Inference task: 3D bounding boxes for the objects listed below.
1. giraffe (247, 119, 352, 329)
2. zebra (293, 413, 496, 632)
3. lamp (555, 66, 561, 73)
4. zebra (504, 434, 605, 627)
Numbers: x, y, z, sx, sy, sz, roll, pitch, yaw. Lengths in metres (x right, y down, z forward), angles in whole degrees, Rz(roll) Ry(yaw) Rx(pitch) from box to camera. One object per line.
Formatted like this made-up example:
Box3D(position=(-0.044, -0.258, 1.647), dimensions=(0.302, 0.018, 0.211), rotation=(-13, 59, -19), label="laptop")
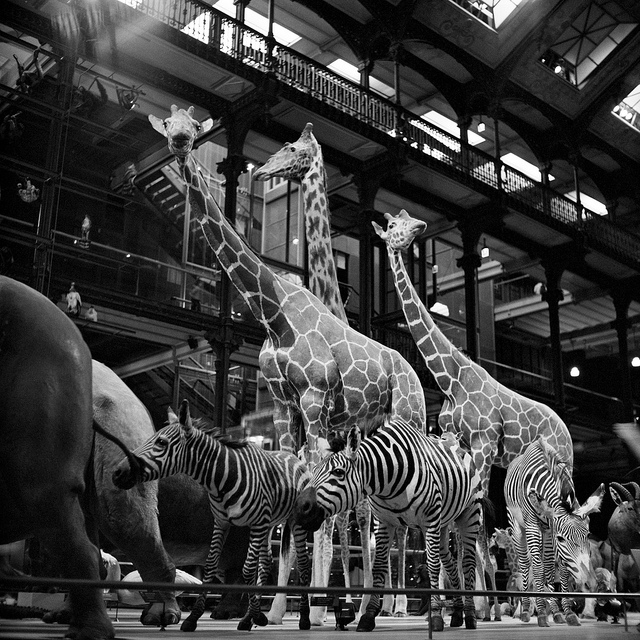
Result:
Box3D(position=(-0.147, -1.041, 12.305), dimensions=(0.708, 0.389, 2.427), rotation=(-14, -51, -8), label="giraffe")
Box3D(position=(0.630, 1.423, 8.939), dimensions=(0.535, 1.376, 2.797), rotation=(-6, -18, 30), label="zebra")
Box3D(position=(4.930, -5.120, 23.088), dimensions=(0.028, 0.127, 0.123), rotation=(13, 27, -49), label="lamp")
Box3D(position=(2.268, 2.024, 11.196), dimensions=(0.520, 1.700, 2.134), rotation=(-1, -1, -8), label="zebra")
